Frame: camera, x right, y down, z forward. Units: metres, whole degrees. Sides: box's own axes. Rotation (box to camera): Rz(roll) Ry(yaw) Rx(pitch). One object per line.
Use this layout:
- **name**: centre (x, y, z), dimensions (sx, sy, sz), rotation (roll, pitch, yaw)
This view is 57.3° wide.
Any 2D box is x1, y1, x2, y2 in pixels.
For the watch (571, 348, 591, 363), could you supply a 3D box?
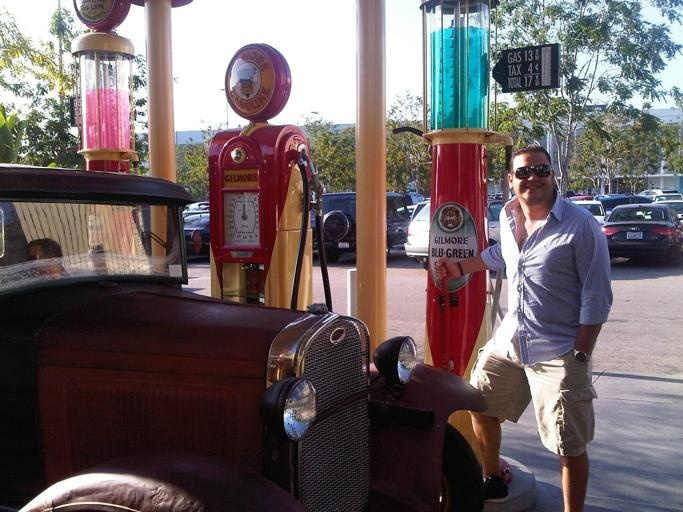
- **watch**: centre (1.404, 0.579, 3.673), dimensions (0.064, 0.037, 0.082), rotation (12, -6, 2)

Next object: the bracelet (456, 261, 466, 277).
- **bracelet**: centre (0.859, 0.093, 4.507), dimensions (0.021, 0.085, 0.075), rotation (-2, 12, -18)

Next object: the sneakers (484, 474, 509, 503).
- **sneakers**: centre (0.974, 1.544, 4.175), dimensions (0.270, 0.147, 0.113), rotation (0, 3, 8)
